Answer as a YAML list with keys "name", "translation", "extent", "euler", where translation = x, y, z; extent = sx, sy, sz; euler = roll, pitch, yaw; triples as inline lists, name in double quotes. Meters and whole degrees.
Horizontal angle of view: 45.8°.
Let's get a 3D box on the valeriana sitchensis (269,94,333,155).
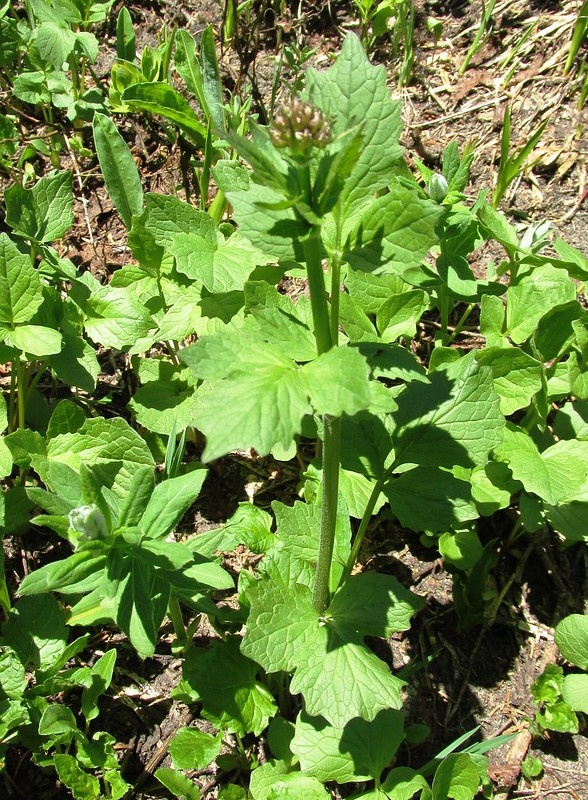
- name: "valeriana sitchensis"
  translation: [0.013, -0.423, 1.071]
  extent: [0.094, 0.084, 0.095]
  euler: [-2, 30, -1]
